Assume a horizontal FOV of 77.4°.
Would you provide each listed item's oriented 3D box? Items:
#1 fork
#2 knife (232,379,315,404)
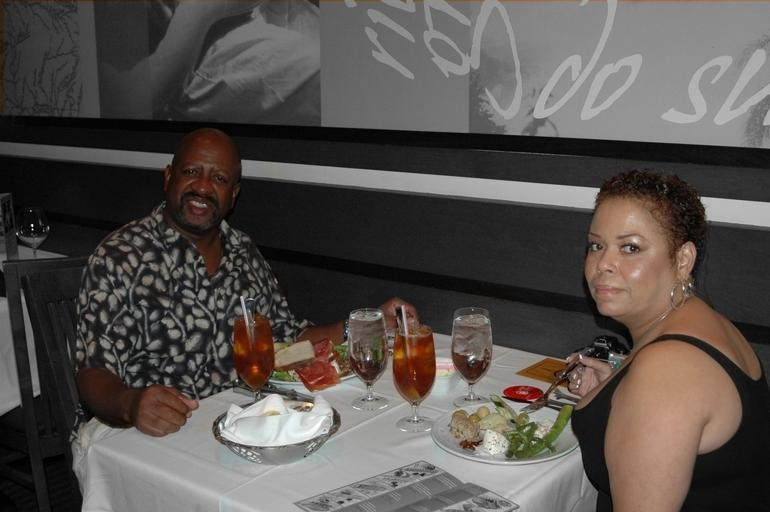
[{"bbox_3d":[0.554,0.401,1.532,0.031,0.202,0.030,44,-5,36],"label":"fork"},{"bbox_3d":[-0.325,0.405,1.424,0.276,0.045,0.051,7,28,10],"label":"knife"}]
